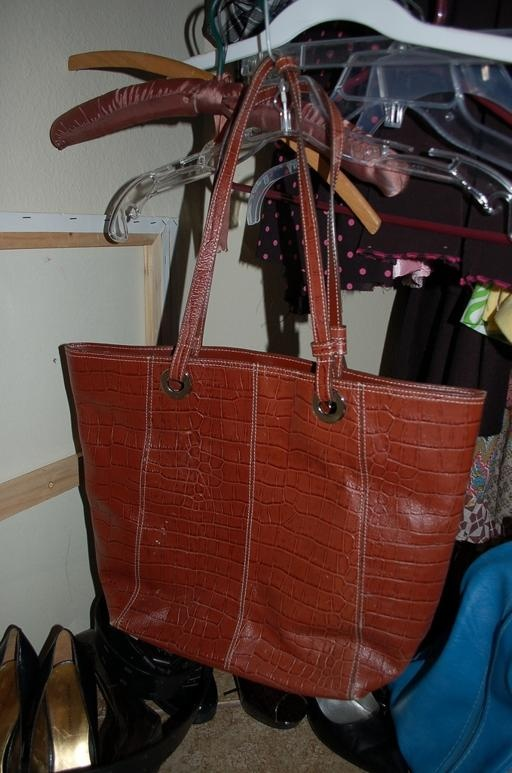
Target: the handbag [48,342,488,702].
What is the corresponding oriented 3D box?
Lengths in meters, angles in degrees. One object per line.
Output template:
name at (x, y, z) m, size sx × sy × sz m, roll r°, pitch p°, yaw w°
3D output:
handbag at (0.005, 0.167, 0.726) m, size 0.492 × 0.372 × 0.140 m, roll 8°, pitch 21°, yaw 22°
